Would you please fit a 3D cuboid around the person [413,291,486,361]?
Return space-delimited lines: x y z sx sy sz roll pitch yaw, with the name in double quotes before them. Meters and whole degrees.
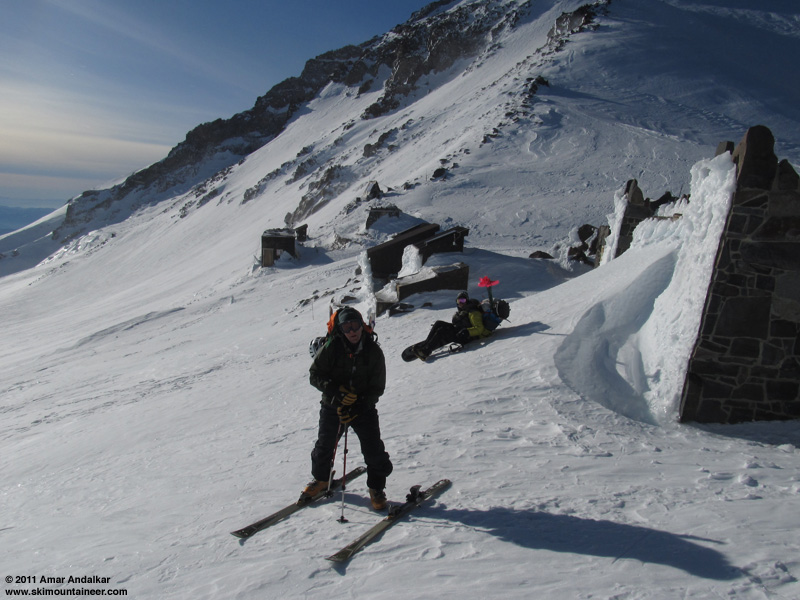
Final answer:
"person" 1.091 0.564 19.699 2.120 0.972 1.122 -21 19 -15
